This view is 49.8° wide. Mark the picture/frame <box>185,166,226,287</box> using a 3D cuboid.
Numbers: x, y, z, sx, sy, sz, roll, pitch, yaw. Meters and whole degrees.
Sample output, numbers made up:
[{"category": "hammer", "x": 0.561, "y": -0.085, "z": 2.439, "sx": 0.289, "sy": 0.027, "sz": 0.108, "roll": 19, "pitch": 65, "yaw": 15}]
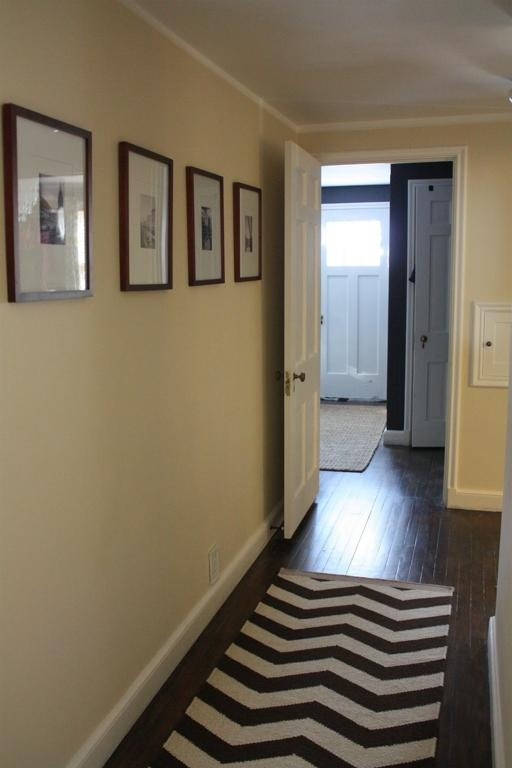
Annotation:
[{"category": "picture/frame", "x": -0.193, "y": -0.580, "z": 2.031, "sx": 0.023, "sy": 0.502, "sz": 0.361, "roll": 5, "pitch": 14, "yaw": 20}]
